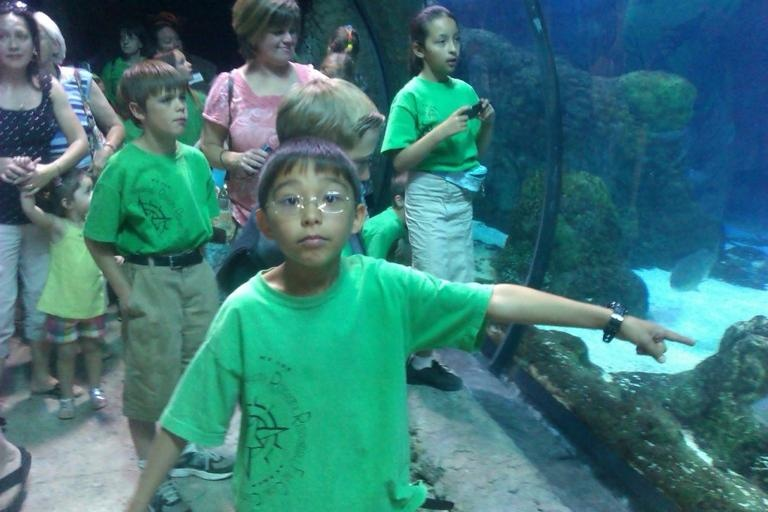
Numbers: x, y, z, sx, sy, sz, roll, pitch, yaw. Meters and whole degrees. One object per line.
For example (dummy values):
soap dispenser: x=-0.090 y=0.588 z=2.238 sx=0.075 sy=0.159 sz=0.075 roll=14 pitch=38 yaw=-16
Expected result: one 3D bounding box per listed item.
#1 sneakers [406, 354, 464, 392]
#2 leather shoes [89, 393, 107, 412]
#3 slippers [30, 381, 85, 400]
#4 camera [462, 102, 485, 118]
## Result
sneakers: x=0.365 y=0.890 z=4.779 sx=0.413 sy=0.111 sz=0.273 roll=25 pitch=32 yaw=32
leather shoes: x=-2.151 y=1.099 z=4.840 sx=0.076 sy=0.138 sz=0.100 roll=-18 pitch=1 yaw=32
slippers: x=-2.544 y=1.028 z=5.051 sx=0.406 sy=0.158 sz=0.145 roll=-1 pitch=-2 yaw=-11
camera: x=0.606 y=-0.988 z=4.363 sx=0.047 sy=0.117 sz=0.170 roll=22 pitch=22 yaw=35
